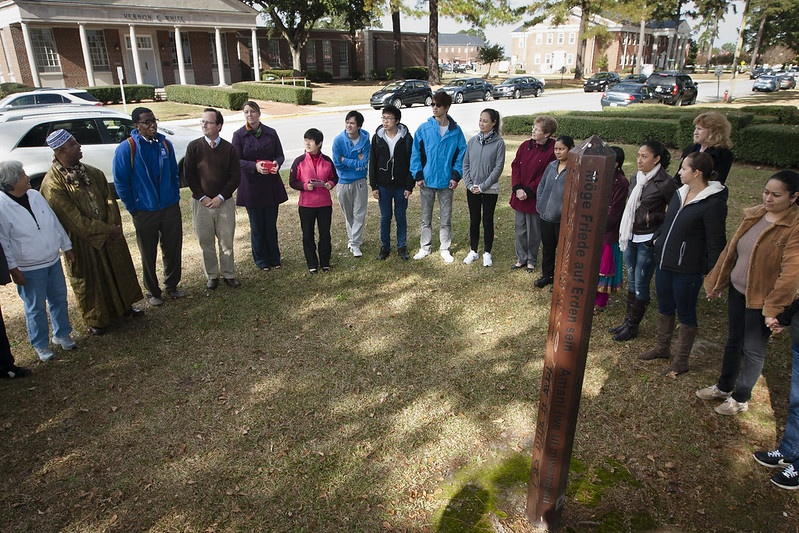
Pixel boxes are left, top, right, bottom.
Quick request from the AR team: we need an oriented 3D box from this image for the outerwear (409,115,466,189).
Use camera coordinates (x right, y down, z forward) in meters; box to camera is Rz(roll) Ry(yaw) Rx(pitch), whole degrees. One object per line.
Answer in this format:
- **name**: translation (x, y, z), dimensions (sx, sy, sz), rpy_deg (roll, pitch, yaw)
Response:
- **outerwear**: translation (0.624, -1.841, 8.552), dimensions (0.910, 1.142, 0.443), rpy_deg (-2, 18, 6)

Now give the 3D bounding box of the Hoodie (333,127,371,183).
- **Hoodie**: translation (-0.780, -1.791, 8.533), dimensions (0.753, 0.951, 0.546), rpy_deg (-5, 31, -13)

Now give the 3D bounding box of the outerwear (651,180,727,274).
- **outerwear**: translation (3.262, -0.423, 5.864), dimensions (0.515, 0.861, 0.837), rpy_deg (-12, 22, -20)

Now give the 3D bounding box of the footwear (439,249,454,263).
- **footwear**: translation (0.802, -0.176, 8.950), dimensions (0.137, 0.122, 0.284), rpy_deg (-18, 22, -18)

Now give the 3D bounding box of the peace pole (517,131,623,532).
- **peace pole**: translation (1.495, 0.692, 4.710), dimensions (0.473, 3.567, 0.851), rpy_deg (8, 22, 33)

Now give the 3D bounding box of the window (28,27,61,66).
- **window**: translation (-21.159, -12.916, 31.280), dimensions (1.227, 2.276, 0.372), rpy_deg (-18, 23, -36)

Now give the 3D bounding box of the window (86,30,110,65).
- **window**: translation (-19.199, -13.739, 33.320), dimensions (0.314, 2.310, 1.072), rpy_deg (11, 23, 38)

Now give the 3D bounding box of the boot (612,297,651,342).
- **boot**: translation (3.104, 0.724, 6.992), dimensions (0.533, 0.635, 0.239), rpy_deg (-3, 37, 8)

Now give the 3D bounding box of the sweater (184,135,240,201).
- **sweater**: translation (-2.826, -1.463, 7.955), dimensions (0.834, 0.900, 0.479), rpy_deg (0, 21, -11)

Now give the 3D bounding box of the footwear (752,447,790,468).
- **footwear**: translation (3.747, 1.929, 5.327), dimensions (0.350, 0.139, 0.127), rpy_deg (4, 56, 13)

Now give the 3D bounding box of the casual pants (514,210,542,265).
- **casual pants**: translation (2.070, -0.476, 8.614), dimensions (0.374, 0.333, 1.276), rpy_deg (5, 46, 6)

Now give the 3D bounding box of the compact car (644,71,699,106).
- **compact car**: translation (13.989, -8.970, 27.174), dimensions (3.748, 1.419, 1.732), rpy_deg (-24, 31, -31)

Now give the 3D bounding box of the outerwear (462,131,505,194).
- **outerwear**: translation (1.332, -1.635, 8.332), dimensions (0.642, 0.934, 0.522), rpy_deg (-2, 18, 6)

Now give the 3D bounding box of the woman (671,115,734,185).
- **woman**: translation (4.190, -1.550, 7.263), dimensions (0.689, 1.113, 0.682), rpy_deg (-3, 15, -7)

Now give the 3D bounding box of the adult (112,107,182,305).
- **adult**: translation (-3.627, -0.901, 7.719), dimensions (0.766, 2.721, 0.926), rpy_deg (10, 19, 38)

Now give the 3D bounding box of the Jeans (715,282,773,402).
- **Jeans**: translation (3.685, 0.803, 5.617), dimensions (0.366, 1.419, 0.477), rpy_deg (-1, 16, -15)

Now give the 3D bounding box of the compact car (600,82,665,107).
- **compact car**: translation (11.183, -8.376, 25.473), dimensions (3.081, 0.959, 1.447), rpy_deg (-15, 21, -34)

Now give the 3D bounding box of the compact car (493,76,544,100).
- **compact car**: translation (7.669, -11.636, 34.167), dimensions (1.422, 1.325, 4.377), rpy_deg (10, 22, 37)

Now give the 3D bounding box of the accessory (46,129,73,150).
- **accessory**: translation (-4.325, -1.609, 6.665), dimensions (0.261, 0.228, 0.323), rpy_deg (-15, 21, -33)

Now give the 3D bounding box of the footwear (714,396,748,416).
- **footwear**: translation (3.652, 1.545, 5.829), dimensions (0.373, 0.164, 0.158), rpy_deg (-10, 3, 1)

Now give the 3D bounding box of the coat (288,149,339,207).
- **coat**: translation (-1.381, -1.374, 8.407), dimensions (0.738, 0.849, 0.477), rpy_deg (-6, 18, -7)

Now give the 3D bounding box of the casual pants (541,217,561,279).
- **casual pants**: translation (2.274, -0.313, 7.914), dimensions (0.285, 0.943, 0.222), rpy_deg (6, -8, -5)

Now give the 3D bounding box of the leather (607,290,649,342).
- **leather**: translation (3.006, 0.633, 6.919), dimensions (0.505, 0.693, 0.448), rpy_deg (-4, 14, -15)
